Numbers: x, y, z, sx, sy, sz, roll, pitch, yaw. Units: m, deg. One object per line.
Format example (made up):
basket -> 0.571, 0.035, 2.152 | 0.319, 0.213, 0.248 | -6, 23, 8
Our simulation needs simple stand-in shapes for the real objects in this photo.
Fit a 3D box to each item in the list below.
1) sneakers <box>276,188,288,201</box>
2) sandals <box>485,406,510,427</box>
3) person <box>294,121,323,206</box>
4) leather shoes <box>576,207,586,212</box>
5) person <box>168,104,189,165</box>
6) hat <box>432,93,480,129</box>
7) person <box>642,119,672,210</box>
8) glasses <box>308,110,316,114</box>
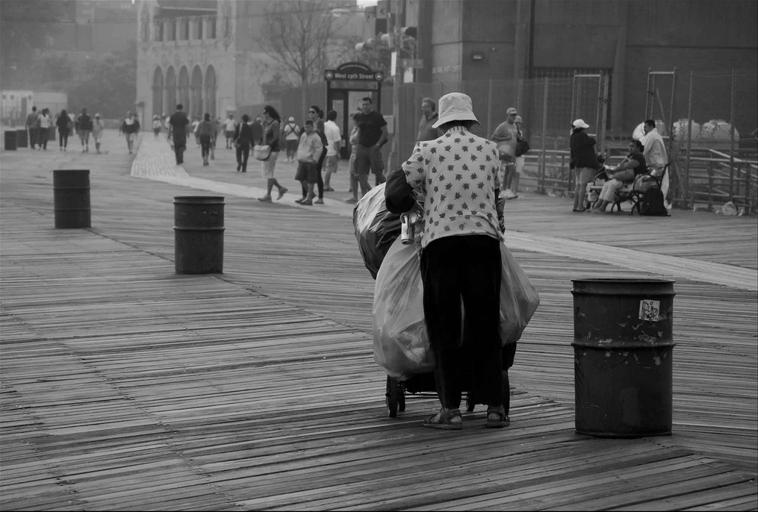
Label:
sneakers -> -2.119, -1.386, 30.988 | 0.179, 0.147, 0.422 | 31, -24, -1
sandals -> 1.277, 1.688, 15.051 | 0.121, 0.228, 0.341 | 3, 11, 30
person -> -1.472, -1.974, 29.863 | 0.551, 1.803, 1.581 | 1, 3, -3
leather shoes -> 4.302, -0.995, 29.918 | 0.216, 0.086, 0.080 | 0, 7, 12
person -> -6.376, -3.904, 45.331 | 0.754, 1.923, 0.657 | -3, -6, 11
hat -> 0.819, -1.569, 15.226 | 0.370, 0.237, 0.413 | -1, -2, -5
person -> 5.714, -2.028, 28.946 | 0.518, 1.522, 0.695 | 1, 3, 10
glasses -> -1.574, -3.481, 33.941 | 0.155, 0.097, 0.212 | -1, 3, 5
